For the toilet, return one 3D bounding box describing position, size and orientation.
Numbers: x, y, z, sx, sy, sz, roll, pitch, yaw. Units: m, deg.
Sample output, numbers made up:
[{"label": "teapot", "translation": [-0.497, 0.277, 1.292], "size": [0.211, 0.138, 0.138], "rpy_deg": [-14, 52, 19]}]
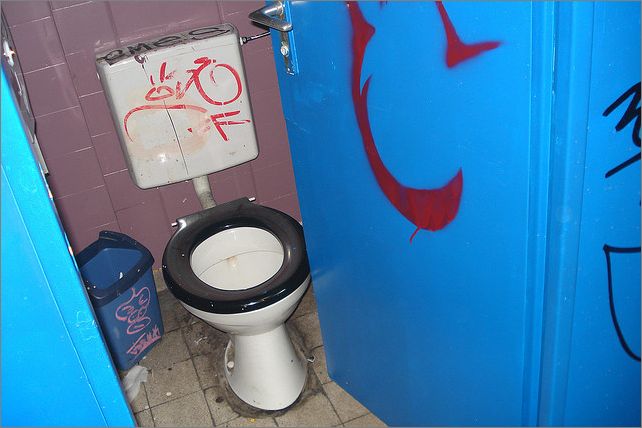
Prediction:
[{"label": "toilet", "translation": [-0.313, 0.033, 1.849], "size": [0.547, 1.239, 0.706], "rpy_deg": [-21, 28, -14]}]
